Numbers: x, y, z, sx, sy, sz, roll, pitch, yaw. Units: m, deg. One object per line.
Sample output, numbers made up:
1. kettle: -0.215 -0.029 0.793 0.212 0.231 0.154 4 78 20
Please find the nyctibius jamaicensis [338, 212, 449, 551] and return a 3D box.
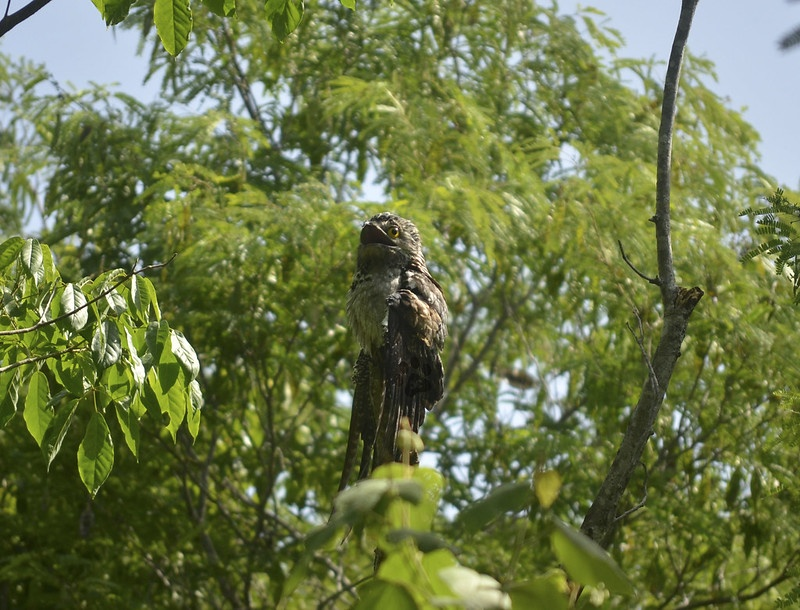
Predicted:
1. nyctibius jamaicensis: -0.072 0.249 10.796 0.735 1.714 0.869 -9 -36 25
